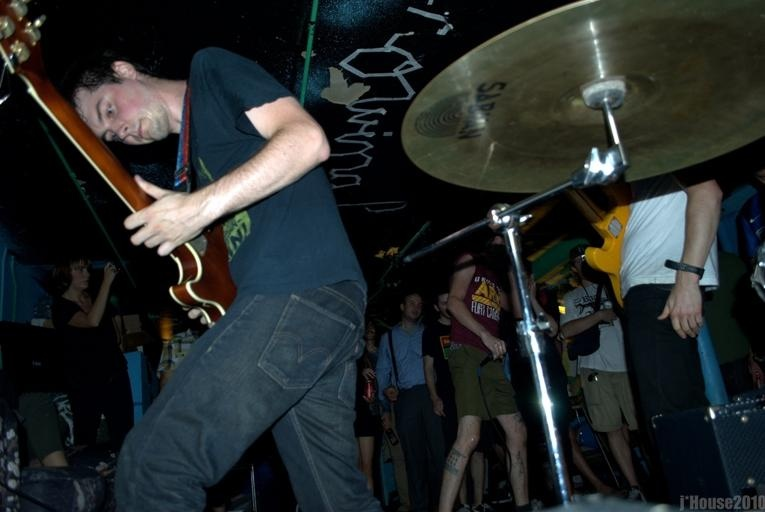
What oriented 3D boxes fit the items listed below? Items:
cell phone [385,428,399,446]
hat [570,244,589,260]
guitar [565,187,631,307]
[{"bbox_3d":[0.090,1.948,6.365,0.103,0.174,0.041,-39,-48,9],"label":"cell phone"},{"bbox_3d":[1.636,-0.038,4.918,0.129,0.202,0.214,0,1,12],"label":"hat"},{"bbox_3d":[1.576,-0.037,4.344,0.158,0.503,1.213,-19,-37,40],"label":"guitar"}]
